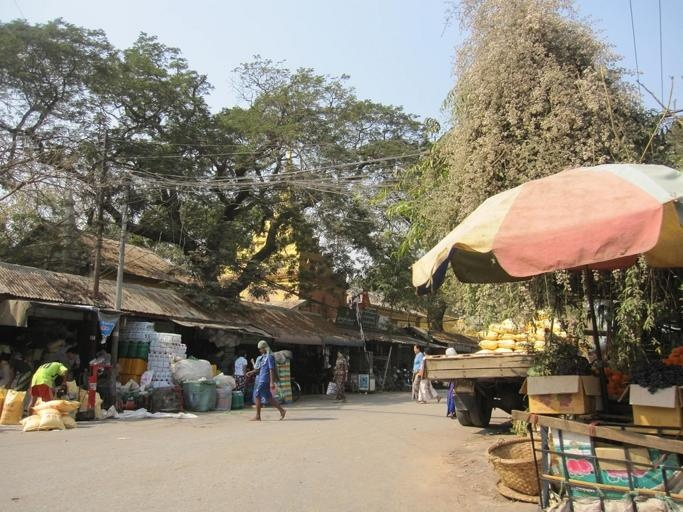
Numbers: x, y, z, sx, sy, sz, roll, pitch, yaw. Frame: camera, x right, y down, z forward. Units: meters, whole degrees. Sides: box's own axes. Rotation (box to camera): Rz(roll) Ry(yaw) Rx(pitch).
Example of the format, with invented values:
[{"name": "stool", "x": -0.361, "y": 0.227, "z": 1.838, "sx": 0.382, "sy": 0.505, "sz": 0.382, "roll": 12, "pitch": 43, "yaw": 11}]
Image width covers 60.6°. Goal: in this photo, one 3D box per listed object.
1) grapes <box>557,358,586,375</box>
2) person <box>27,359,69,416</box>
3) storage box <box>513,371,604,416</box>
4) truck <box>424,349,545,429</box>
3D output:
[{"name": "grapes", "x": 2.741, "y": 1.319, "z": 6.939, "sx": 0.264, "sy": 0.145, "sz": 0.207, "roll": -1, "pitch": -1, "yaw": -15}, {"name": "person", "x": -6.631, "y": 3.101, "z": 13.279, "sx": 0.810, "sy": 1.291, "sz": 0.710, "roll": 3, "pitch": -9, "yaw": 16}, {"name": "storage box", "x": 2.483, "y": 1.729, "z": 7.152, "sx": 1.003, "sy": 0.413, "sz": 0.979, "roll": -11, "pitch": -21, "yaw": 25}, {"name": "truck", "x": 3.513, "y": 2.828, "z": 12.453, "sx": 2.565, "sy": 1.482, "sz": 3.610, "roll": -13, "pitch": -18, "yaw": 35}]
